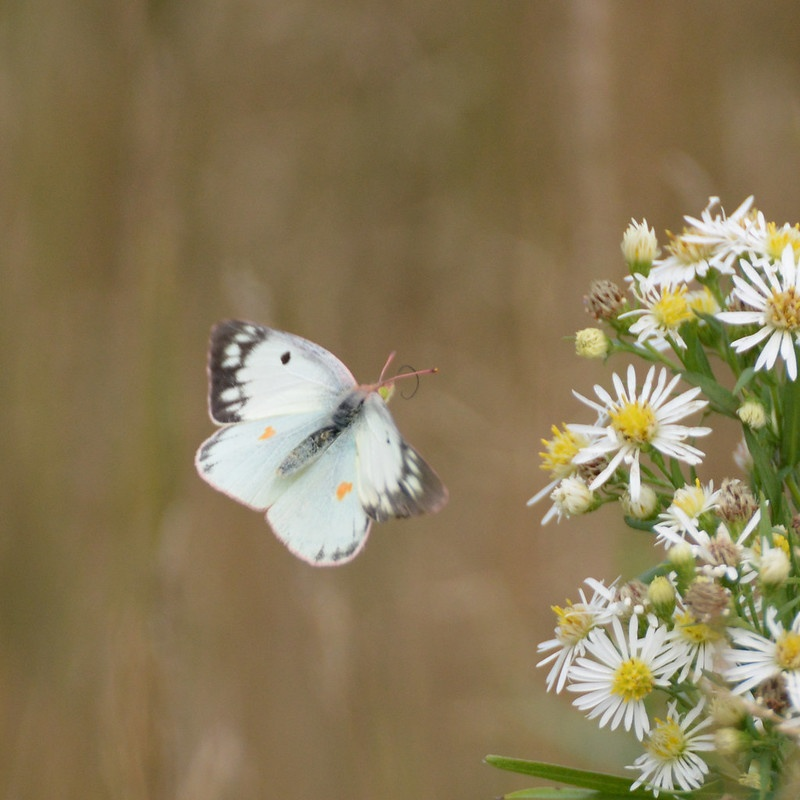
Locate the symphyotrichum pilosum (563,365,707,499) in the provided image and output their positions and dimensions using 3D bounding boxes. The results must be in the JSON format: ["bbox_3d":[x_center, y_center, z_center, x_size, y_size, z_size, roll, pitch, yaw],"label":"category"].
[{"bbox_3d":[0.200,0.020,1.177,0.119,0.038,0.148,-18,28,14],"label":"symphyotrichum pilosum"}]

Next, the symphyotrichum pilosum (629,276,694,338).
[{"bbox_3d":[0.223,-0.072,1.187,0.061,0.037,0.049,-10,63,-1],"label":"symphyotrichum pilosum"}]
